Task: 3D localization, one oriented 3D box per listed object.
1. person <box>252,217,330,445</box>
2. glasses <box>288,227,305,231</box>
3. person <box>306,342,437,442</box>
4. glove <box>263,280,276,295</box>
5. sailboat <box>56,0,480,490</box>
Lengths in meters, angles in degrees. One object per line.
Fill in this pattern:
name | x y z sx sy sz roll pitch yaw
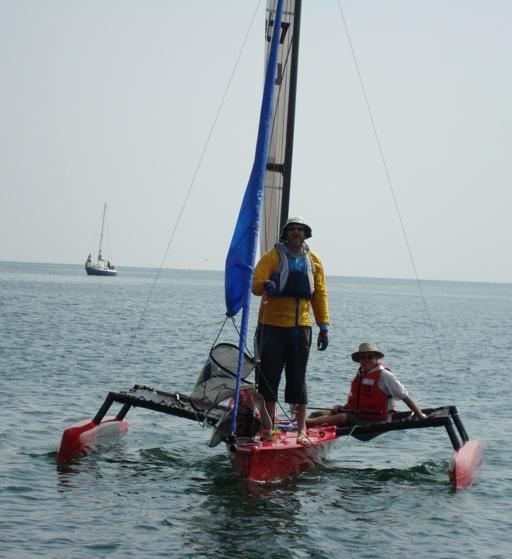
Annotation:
person | 0.359 0.517 7.296 0.787 2.424 1.003 2 -7 5
glasses | 0.423 -0.524 7.257 0.168 0.059 0.082 2 -7 0
person | 1.150 1.281 8.317 1.760 0.970 0.847 2 -2 -16
glove | 0.141 0.087 6.960 0.115 0.117 0.139 1 -14 8
sailboat | 0.263 -0.733 8.040 4.593 5.937 3.057 4 -7 -13
